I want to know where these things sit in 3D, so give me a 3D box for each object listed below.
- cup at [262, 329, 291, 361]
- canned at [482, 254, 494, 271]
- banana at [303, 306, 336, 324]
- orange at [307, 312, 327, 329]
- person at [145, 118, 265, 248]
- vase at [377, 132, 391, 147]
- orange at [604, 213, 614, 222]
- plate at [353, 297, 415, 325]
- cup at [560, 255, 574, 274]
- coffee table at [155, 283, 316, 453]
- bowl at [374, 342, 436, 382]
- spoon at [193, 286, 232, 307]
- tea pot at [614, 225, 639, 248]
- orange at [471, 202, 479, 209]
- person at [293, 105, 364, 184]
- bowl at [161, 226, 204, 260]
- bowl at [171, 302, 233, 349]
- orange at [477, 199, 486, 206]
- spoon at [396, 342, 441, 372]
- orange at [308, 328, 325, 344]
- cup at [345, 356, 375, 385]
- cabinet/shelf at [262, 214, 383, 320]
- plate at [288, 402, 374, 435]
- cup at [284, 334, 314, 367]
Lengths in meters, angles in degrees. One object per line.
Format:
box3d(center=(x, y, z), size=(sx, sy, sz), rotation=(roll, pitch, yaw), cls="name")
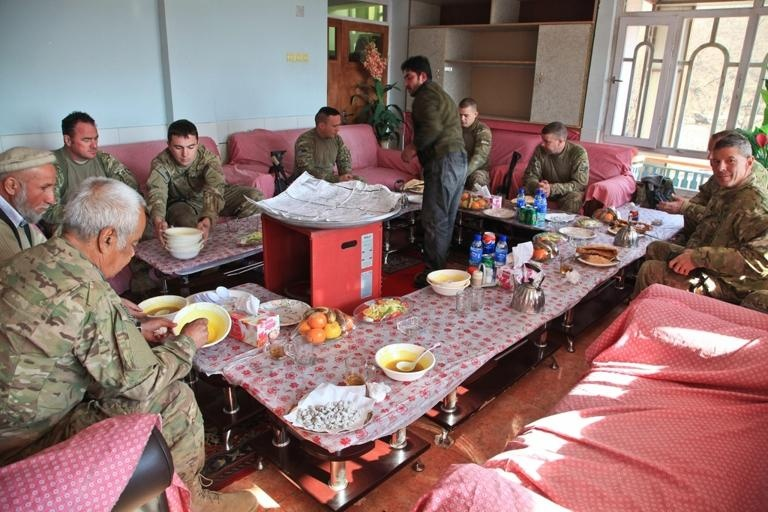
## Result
box3d(center=(-0.522, 0.428, 2.482), size=(0.149, 0.141, 0.093), rotation=(15, 25, 26), cls="cup")
box3d(center=(0.681, 0.040, 3.210), size=(0.096, 0.090, 0.096), rotation=(13, 23, 37), cls="canned")
box3d(center=(-0.318, 0.292, 2.549), size=(0.098, 0.041, 0.092), rotation=(12, 0, 8), cls="banana")
box3d(center=(-0.342, 0.316, 2.529), size=(0.079, 0.078, 0.081), rotation=(-11, 20, -11), cls="orange")
box3d(center=(-1.421, -0.521, 3.853), size=(0.840, 0.775, 1.066), rotation=(-4, 36, -18), cls="person")
box3d(center=(-0.025, -1.730, 7.558), size=(0.214, 0.222, 0.214), rotation=(-14, 20, -43), cls="vase")
box3d(center=(1.860, -0.305, 4.135), size=(0.069, 0.046, 0.063), rotation=(1, 38, 12), cls="orange")
box3d(center=(0.002, 0.294, 2.732), size=(0.186, 0.043, 0.190), rotation=(-19, 23, -36), cls="plate")
box3d(center=(1.212, 0.060, 3.327), size=(0.105, 0.090, 0.127), rotation=(-1, 18, -2), cls="cup")
box3d(center=(-0.721, 0.673, 2.839), size=(0.967, 0.459, 0.772), rotation=(22, 31, 38), cls="coffee table")
box3d(center=(0.088, 0.498, 2.371), size=(0.210, 0.070, 0.165), rotation=(-13, 30, -32), cls="bowl")
box3d(center=(-0.933, 0.224, 2.737), size=(0.161, 0.040, 0.101), rotation=(-9, 43, -42), cls="spoon")
box3d(center=(1.765, -0.149, 3.721), size=(0.170, 0.163, 0.160), rotation=(-2, 27, 1), cls="tea pot")
box3d(center=(0.792, -0.433, 4.387), size=(0.055, 0.039, 0.042), rotation=(32, 13, -5), cls="orange")
box3d(center=(-0.551, -1.040, 5.122), size=(0.699, 0.821, 0.720), rotation=(-12, 32, -34), cls="person")
box3d(center=(-1.302, -0.096, 3.222), size=(0.222, 0.160, 0.220), rotation=(-1, 19, 0), cls="bowl")
box3d(center=(-0.881, 0.337, 2.494), size=(0.233, 0.088, 0.222), rotation=(13, 43, -12), cls="bowl")
box3d(center=(0.860, -0.454, 4.402), size=(0.072, 0.036, 0.067), rotation=(-11, 34, -23), cls="orange")
box3d(center=(0.167, 0.500, 2.418), size=(0.259, 0.040, 0.080), rotation=(-35, 43, -30), cls="spoon")
box3d(center=(-0.327, 0.388, 2.480), size=(0.075, 0.069, 0.074), rotation=(8, 13, 23), cls="orange")
box3d(center=(-0.122, 0.530, 2.333), size=(0.093, 0.099, 0.106), rotation=(-22, 30, -38), cls="cup")
box3d(center=(-0.332, 0.003, 3.121), size=(0.657, 0.608, 0.640), rotation=(-20, 29, -41), cls="cabinet/shelf")
box3d(center=(-0.223, 0.668, 2.083), size=(0.343, 0.054, 0.152), rotation=(-3, 22, -11), cls="plate")
box3d(center=(-0.418, 0.457, 2.424), size=(0.146, 0.120, 0.090), rotation=(16, 38, 38), cls="cup")
